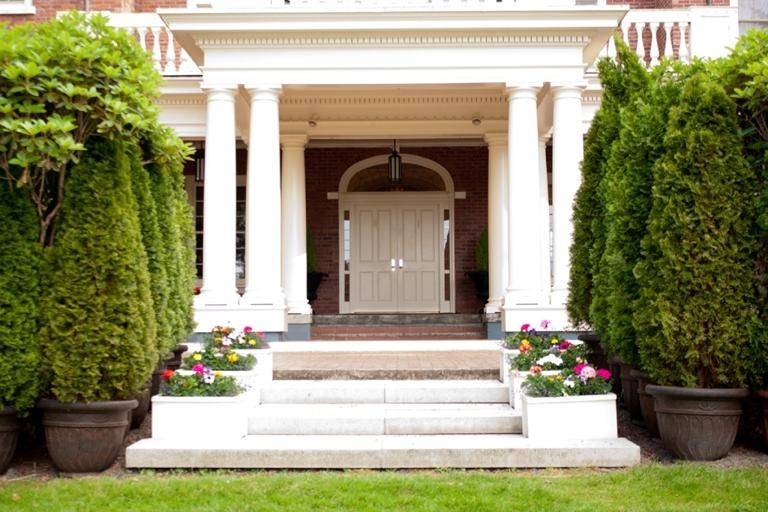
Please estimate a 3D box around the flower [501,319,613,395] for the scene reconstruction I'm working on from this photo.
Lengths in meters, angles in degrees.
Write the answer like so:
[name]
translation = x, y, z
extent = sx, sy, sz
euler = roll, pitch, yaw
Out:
[flower]
translation = 1.958, 1.217, 9.973
extent = 0.744, 0.338, 1.142
euler = 0, 11, -1
